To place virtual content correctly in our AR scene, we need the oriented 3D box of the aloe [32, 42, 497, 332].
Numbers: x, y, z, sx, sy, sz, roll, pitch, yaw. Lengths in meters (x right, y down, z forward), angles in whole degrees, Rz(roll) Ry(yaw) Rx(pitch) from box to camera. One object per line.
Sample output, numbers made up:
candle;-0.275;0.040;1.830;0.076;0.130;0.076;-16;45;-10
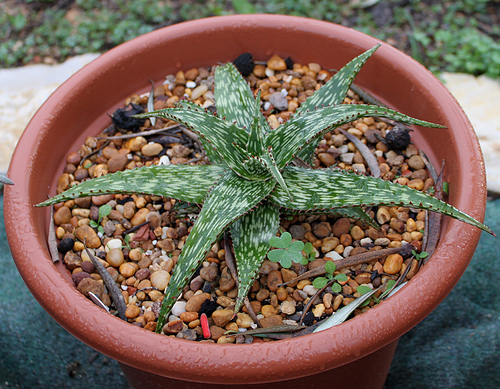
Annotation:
aloe;0.044;-0.089;2.020;1.047;0.925;0.286;9;63;44
